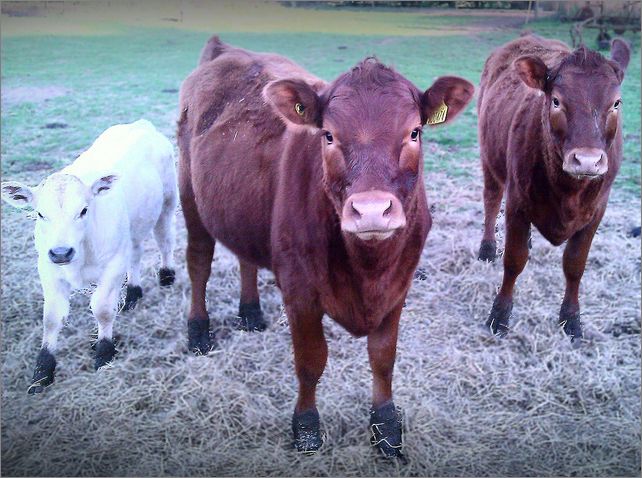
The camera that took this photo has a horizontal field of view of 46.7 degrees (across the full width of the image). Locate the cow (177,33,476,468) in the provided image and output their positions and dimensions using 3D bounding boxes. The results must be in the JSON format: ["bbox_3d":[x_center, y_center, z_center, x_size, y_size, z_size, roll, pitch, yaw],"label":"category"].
[{"bbox_3d":[-0.223,0.025,7.285,2.719,3.597,1.255,20,29,37],"label":"cow"}]
